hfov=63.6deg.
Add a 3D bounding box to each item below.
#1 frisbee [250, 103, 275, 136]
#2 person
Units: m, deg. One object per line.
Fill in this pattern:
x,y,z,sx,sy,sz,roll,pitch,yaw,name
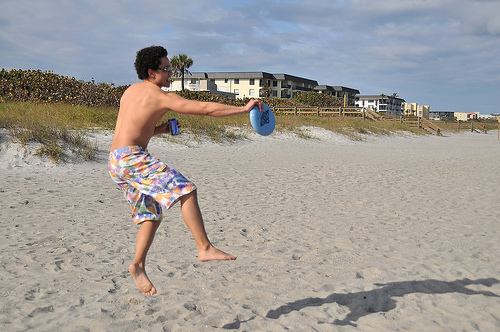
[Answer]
0.098,-0.559,4.910,0.083,0.362,0.355,-6,16,42,frisbee
-0.957,0.206,4.630,1.415,3.069,0.784,4,12,8,person
